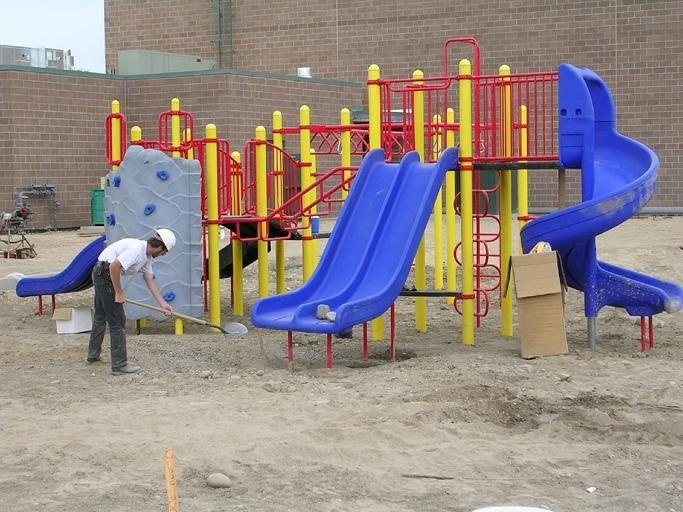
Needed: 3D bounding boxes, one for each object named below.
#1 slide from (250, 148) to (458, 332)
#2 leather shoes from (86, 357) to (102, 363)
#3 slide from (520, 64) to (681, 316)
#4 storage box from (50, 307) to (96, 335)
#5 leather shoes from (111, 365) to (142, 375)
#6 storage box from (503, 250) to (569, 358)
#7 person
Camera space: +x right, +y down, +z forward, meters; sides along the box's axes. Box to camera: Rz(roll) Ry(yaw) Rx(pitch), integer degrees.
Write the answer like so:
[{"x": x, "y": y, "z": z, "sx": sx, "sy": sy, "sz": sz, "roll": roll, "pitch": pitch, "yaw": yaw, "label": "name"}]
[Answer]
[{"x": 0.156, "y": -0.177, "z": 10.557, "sx": 1.030, "sy": 1.283, "sz": 2.823, "roll": 4, "pitch": 15, "yaw": 33, "label": "slide"}, {"x": -2.635, "y": 1.084, "z": 9.140, "sx": 0.057, "sy": 0.060, "sz": 0.152, "roll": 7, "pitch": 9, "yaw": 33, "label": "leather shoes"}, {"x": 2.869, "y": -0.716, "z": 9.377, "sx": 1.511, "sy": 2.769, "sz": 1.190, "roll": -2, "pitch": 3, "yaw": -44, "label": "slide"}, {"x": -3.335, "y": 0.776, "z": 10.715, "sx": 0.391, "sy": 0.352, "sz": 0.540, "roll": -2, "pitch": 0, "yaw": 17, "label": "storage box"}, {"x": -2.199, "y": 1.136, "z": 8.808, "sx": 0.313, "sy": 0.112, "sz": 0.101, "roll": -2, "pitch": 4, "yaw": -13, "label": "leather shoes"}, {"x": 1.977, "y": 0.455, "z": 9.247, "sx": 0.811, "sy": 0.979, "sz": 0.813, "roll": -3, "pitch": 7, "yaw": 23, "label": "storage box"}, {"x": -2.213, "y": 0.450, "z": 8.962, "sx": 0.762, "sy": 1.450, "sz": 0.861, "roll": -1, "pitch": 3, "yaw": -32, "label": "person"}]
